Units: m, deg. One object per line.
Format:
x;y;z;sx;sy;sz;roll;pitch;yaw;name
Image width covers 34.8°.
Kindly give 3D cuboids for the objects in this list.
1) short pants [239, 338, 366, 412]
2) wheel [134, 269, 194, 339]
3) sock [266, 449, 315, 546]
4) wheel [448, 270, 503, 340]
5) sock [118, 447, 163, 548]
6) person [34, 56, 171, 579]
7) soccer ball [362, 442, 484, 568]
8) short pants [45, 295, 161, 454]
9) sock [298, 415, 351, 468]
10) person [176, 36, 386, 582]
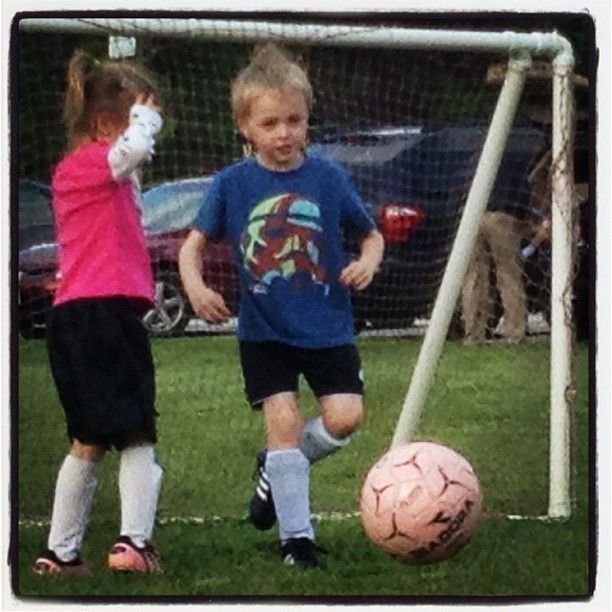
-0.019;0.265;3.729;0.450;0.433;0.258;-2;-8;1;short pants
-0.721;0.018;5.247;0.260;0.432;0.284;0;14;0;wheel
-0.057;0.718;3.712;0.166;0.389;0.113;-7;6;5;sock
0.953;0.022;5.554;0.108;0.452;0.337;2;13;15;wheel
-0.642;0.716;3.748;0.178;0.379;0.195;0;22;-1;sock
-0.799;0.071;3.775;0.514;1.852;0.797;-1;22;-3;person
0.410;0.709;3.479;0.421;0.365;0.279;4;22;7;soccer ball
-0.803;0.245;3.781;0.443;0.597;0.339;-7;-4;37;short pants
0.071;0.520;3.769;0.182;0.219;0.090;3;22;5;sock
-0.037;-0.021;3.923;0.799;1.896;0.914;13;25;28;person
